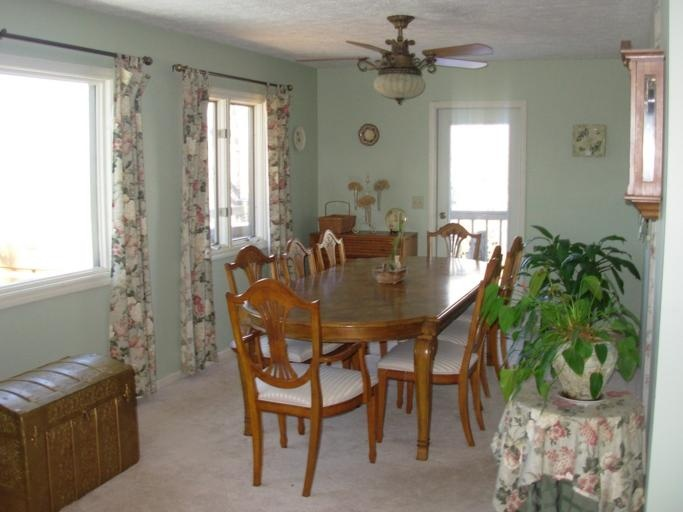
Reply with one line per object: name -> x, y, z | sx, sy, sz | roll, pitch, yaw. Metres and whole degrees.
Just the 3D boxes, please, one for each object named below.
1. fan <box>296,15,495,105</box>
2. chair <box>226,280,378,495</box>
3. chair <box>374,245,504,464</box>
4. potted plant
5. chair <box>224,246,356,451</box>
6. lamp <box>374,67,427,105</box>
fan -> 0.532, -1.740, 4.916 | 1.084, 0.579, 1.135 | 1, 1, 15
chair -> -0.193, 0.719, 3.346 | 0.800, 1.219, 0.854 | -1, 7, 0
chair -> 0.662, 0.613, 3.754 | 0.683, 1.198, 0.627 | 5, 9, 27
potted plant -> 1.191, 0.408, 2.836 | 0.651, 0.603, 0.794 | 5, -11, -45
chair -> -0.437, 0.528, 3.858 | 0.716, 1.109, 0.732 | 9, 8, 15
lamp -> 0.395, -1.154, 3.796 | 0.310, 0.208, 0.218 | -7, 13, -28
